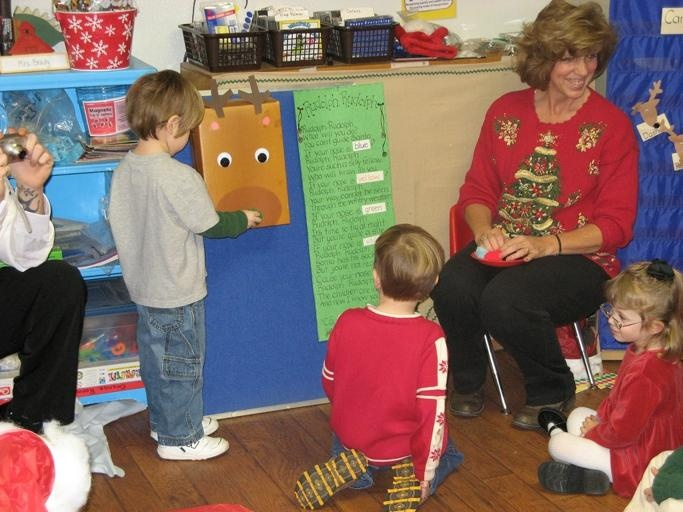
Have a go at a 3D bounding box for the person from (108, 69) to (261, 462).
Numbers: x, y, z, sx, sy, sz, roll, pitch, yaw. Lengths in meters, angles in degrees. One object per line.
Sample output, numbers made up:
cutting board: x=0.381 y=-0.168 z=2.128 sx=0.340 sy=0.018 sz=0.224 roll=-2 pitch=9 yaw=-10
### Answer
person: x=-0.612 y=0.066 z=2.309 sx=0.487 sy=1.489 sz=0.362 roll=-12 pitch=22 yaw=-19

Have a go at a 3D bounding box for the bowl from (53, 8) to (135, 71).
bowl: x=-0.975 y=-0.846 z=2.372 sx=0.280 sy=0.176 sz=0.280 roll=0 pitch=10 yaw=0

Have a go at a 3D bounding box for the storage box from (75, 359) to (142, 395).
storage box: x=-1.042 y=0.550 z=2.662 sx=0.246 sy=0.083 sz=0.177 roll=-4 pitch=5 yaw=-31

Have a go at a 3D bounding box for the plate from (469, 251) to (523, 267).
plate: x=0.662 y=0.013 z=2.554 sx=0.222 sy=0.076 sz=0.106 roll=3 pitch=21 yaw=19

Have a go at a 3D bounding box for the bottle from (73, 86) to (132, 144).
bottle: x=-1.015 y=-0.599 z=2.570 sx=0.275 sy=0.197 sz=0.238 roll=-4 pitch=10 yaw=-16

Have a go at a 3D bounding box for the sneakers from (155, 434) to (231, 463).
sneakers: x=-0.588 y=0.783 z=2.394 sx=0.292 sy=0.129 sz=0.104 roll=-4 pitch=9 yaw=-9

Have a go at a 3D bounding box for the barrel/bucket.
barrel/bucket: x=-0.972 y=-0.824 z=2.369 sx=0.282 sy=0.178 sz=0.282 roll=0 pitch=10 yaw=0

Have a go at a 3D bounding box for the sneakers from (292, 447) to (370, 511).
sneakers: x=-0.048 y=0.794 z=2.161 sx=0.314 sy=0.145 sz=0.094 roll=-27 pitch=-1 yaw=4

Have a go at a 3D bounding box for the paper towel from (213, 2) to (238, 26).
paper towel: x=-0.491 y=-1.002 z=2.468 sx=0.116 sy=0.106 sz=0.012 roll=-1 pitch=19 yaw=-12

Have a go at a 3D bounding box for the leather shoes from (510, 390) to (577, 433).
leather shoes: x=0.869 y=0.668 z=2.592 sx=0.274 sy=0.111 sz=0.111 roll=-11 pitch=35 yaw=-4

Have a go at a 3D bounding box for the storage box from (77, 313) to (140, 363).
storage box: x=-1.070 y=0.385 z=2.767 sx=0.371 sy=0.237 sz=0.195 roll=-1 pitch=-20 yaw=-12

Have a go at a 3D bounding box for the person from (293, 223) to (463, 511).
person: x=0.126 y=0.412 z=2.122 sx=0.582 sy=0.966 sz=0.453 roll=-1 pitch=21 yaw=10

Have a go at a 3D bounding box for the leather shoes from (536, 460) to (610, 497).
leather shoes: x=0.857 y=0.827 z=2.245 sx=0.269 sy=0.103 sz=0.109 roll=5 pitch=-10 yaw=10
